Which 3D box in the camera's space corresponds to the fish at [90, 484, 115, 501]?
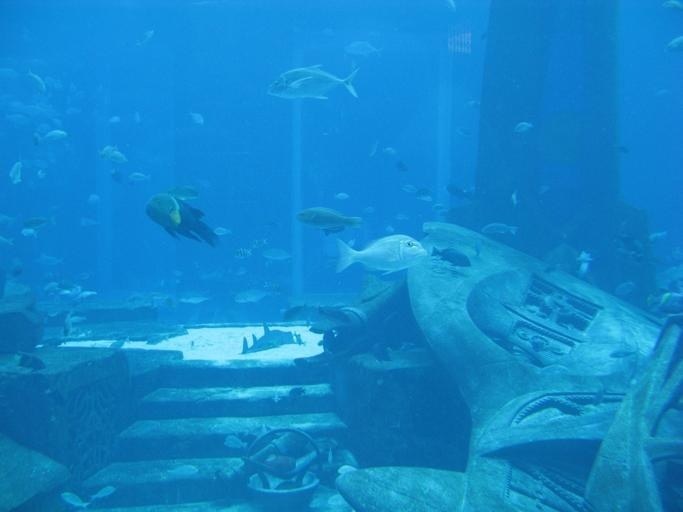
[{"bbox_3d":[-6.375,6.326,17.314,0.685,0.333,0.258,-16,-30,12],"label":"fish"}]
